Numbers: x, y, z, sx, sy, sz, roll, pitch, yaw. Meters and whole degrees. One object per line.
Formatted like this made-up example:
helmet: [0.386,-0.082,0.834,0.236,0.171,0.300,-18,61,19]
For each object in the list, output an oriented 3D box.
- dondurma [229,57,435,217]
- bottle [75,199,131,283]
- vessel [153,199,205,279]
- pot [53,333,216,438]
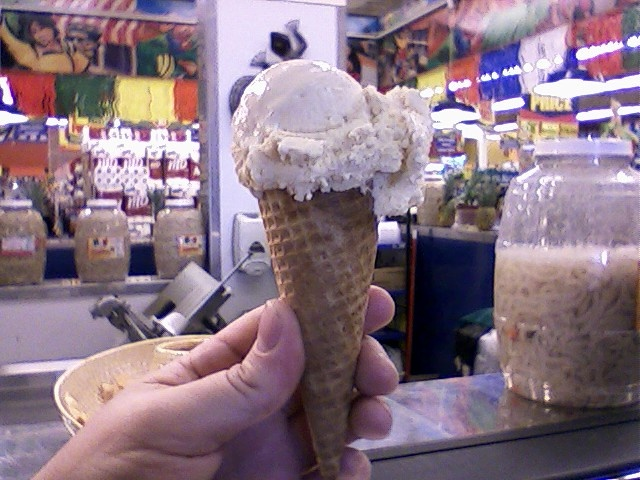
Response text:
dondurma: [0.011,-0.240,1.418,0.416,0.326,0.506,-6,19,-30]
bottle: [-1.092,0.006,2.970,0.265,0.420,0.171,-4,7,-24]
vessel: [-0.743,0.013,3.125,0.241,0.393,0.261,9,8,37]
pot: [-0.500,0.330,1.434,0.225,0.098,0.243,-8,6,1]
